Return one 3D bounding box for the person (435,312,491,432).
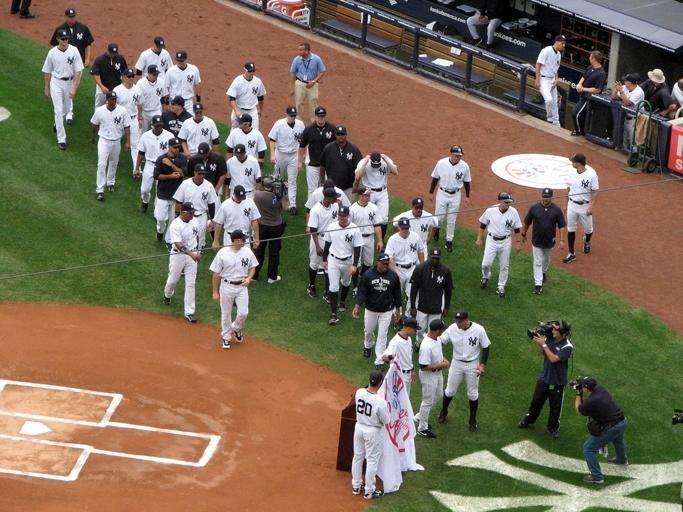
[{"bbox_3d":[1.859,1.803,16.911,0.992,1.923,0.720,1,11,7],"label":"person"}]

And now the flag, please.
[{"bbox_3d":[0.826,2.645,16.022,0.697,2.027,1.483,3,18,22],"label":"flag"}]

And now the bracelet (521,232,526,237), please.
[{"bbox_3d":[3.435,-0.395,19.926,0.095,0.067,0.092,-4,8,-23],"label":"bracelet"}]

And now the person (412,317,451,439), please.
[{"bbox_3d":[1.447,2.014,16.994,0.745,2.168,0.808,2,37,6],"label":"person"}]

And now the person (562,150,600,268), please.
[{"bbox_3d":[4.748,-0.947,21.073,0.755,2.114,0.696,18,20,21],"label":"person"}]

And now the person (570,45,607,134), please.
[{"bbox_3d":[5.992,-3.894,25.590,0.668,2.028,1.055,14,19,10],"label":"person"}]

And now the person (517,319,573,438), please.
[{"bbox_3d":[3.330,1.894,17.048,0.842,1.870,0.484,15,19,11],"label":"person"}]

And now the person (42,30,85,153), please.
[{"bbox_3d":[-6.255,-3.668,23.442,0.763,2.461,0.852,9,19,-7],"label":"person"}]

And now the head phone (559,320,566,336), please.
[{"bbox_3d":[3.506,1.121,16.720,0.159,0.178,0.180,-3,-10,10],"label":"head phone"}]

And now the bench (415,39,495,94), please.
[{"bbox_3d":[2.976,-4.987,28.206,1.895,0.724,0.614,26,60,22],"label":"bench"}]

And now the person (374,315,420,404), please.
[{"bbox_3d":[0.876,1.678,16.913,0.522,1.677,0.734,13,34,29],"label":"person"}]

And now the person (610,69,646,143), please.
[{"bbox_3d":[6.740,-3.308,24.811,0.699,1.998,0.742,-28,34,-29],"label":"person"}]

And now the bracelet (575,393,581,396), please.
[{"bbox_3d":[3.694,2.143,16.445,0.045,0.032,0.044,-1,15,3],"label":"bracelet"}]

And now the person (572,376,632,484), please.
[{"bbox_3d":[4.033,2.636,16.475,0.927,1.559,0.926,2,16,32],"label":"person"}]

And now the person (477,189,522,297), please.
[{"bbox_3d":[3.011,-0.350,20.340,0.816,1.909,1.196,13,19,6],"label":"person"}]

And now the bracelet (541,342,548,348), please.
[{"bbox_3d":[3.241,1.412,16.846,0.086,0.057,0.086,-11,-9,22],"label":"bracelet"}]

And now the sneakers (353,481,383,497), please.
[{"bbox_3d":[0.420,3.509,15.797,0.275,0.095,0.236,15,22,35],"label":"sneakers"}]

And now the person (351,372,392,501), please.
[{"bbox_3d":[0.429,2.628,15.648,0.711,1.877,0.388,15,19,13],"label":"person"}]
